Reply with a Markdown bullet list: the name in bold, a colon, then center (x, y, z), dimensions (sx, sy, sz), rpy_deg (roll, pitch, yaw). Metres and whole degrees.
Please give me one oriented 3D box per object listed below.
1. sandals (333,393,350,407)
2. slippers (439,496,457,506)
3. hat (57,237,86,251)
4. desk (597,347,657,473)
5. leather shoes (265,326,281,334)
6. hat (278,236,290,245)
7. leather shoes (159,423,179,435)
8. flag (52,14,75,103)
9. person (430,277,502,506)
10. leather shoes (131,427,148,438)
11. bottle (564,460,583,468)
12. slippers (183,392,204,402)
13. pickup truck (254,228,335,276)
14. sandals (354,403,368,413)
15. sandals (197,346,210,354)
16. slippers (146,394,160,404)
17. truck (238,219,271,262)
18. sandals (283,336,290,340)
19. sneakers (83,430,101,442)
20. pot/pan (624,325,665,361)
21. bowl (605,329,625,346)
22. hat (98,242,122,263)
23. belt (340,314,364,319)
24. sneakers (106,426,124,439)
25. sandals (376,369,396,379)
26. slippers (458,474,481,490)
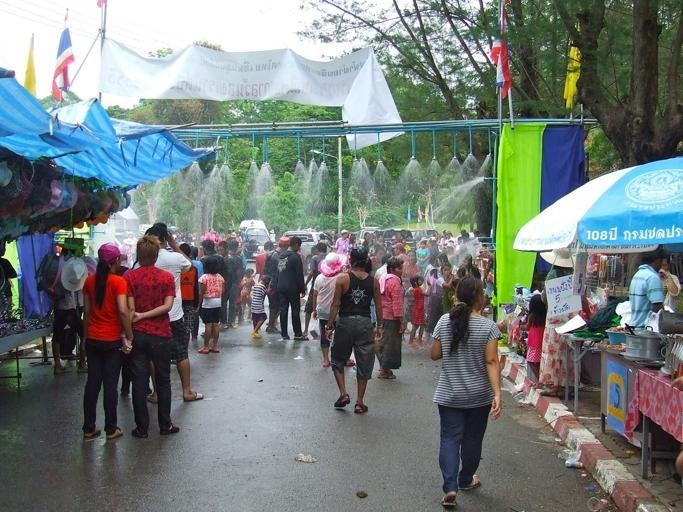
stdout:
- **sandals**: center (0.004, 2.047, 8.389), dimensions (0.116, 0.146, 0.303), rpy_deg (2, -11, -23)
- **slippers**: center (1.023, 2.346, 5.689), dimensions (0.074, 0.083, 0.164), rpy_deg (0, -13, 0)
- **hat**: center (-4.517, -0.186, 10.103), dimensions (0.318, 0.189, 0.244), rpy_deg (0, 1, 2)
- **desk**: center (3.479, 1.689, 6.812), dimensions (0.663, 0.980, 1.297), rpy_deg (2, 1, 3)
- **leather shoes**: center (-1.655, 1.828, 14.504), dimensions (0.362, 0.175, 0.138), rpy_deg (-1, -3, 2)
- **hat**: center (-1.298, -0.320, 13.507), dimensions (0.222, 0.212, 0.194), rpy_deg (-20, 2, -12)
- **leather shoes**: center (-2.114, 2.150, 7.411), dimensions (0.096, 0.108, 0.231), rpy_deg (3, 1, 22)
- **flag**: center (-6.877, -4.843, 14.798), dimensions (0.443, 2.570, 0.370), rpy_deg (-9, 47, -35)
- **person**: center (1.230, 1.304, 5.934), dimensions (0.663, 2.189, 0.636), rpy_deg (0, 4, -3)
- **leather shoes**: center (-2.459, 2.169, 7.295), dimensions (0.194, 0.124, 0.097), rpy_deg (24, 16, 31)
- **bottle**: center (2.604, 2.346, 6.718), dimensions (0.187, 0.058, 0.117), rpy_deg (1, 4, 15)
- **slippers**: center (-2.149, 2.065, 8.697), dimensions (0.209, 0.084, 0.123), rpy_deg (0, 2, -13)
- **pickup truck**: center (-2.153, -0.181, 28.279), dimensions (3.148, 2.095, 1.994), rpy_deg (1, 1, -3)
- **sandals**: center (0.271, 2.100, 8.350), dimensions (0.186, 0.135, 0.341), rpy_deg (1, 4, 4)
- **sandals**: center (-2.745, 1.886, 11.906), dimensions (0.096, 0.098, 0.207), rpy_deg (1, 1, -45)
- **slippers**: center (-2.762, 2.096, 8.747), dimensions (0.108, 0.091, 0.325), rpy_deg (-2, 4, -28)
- **truck**: center (-4.654, -1.020, 34.218), dimensions (2.158, 2.383, 4.071), rpy_deg (-1, -2, -15)
- **sandals**: center (-1.245, 1.865, 13.517), dimensions (0.095, 0.101, 0.101), rpy_deg (1, -6, -3)
- **sneakers**: center (-3.005, 2.175, 7.239), dimensions (0.080, 0.096, 0.211), rpy_deg (4, 7, 18)
- **pot/pan**: center (3.362, 1.035, 6.678), dimensions (0.414, 0.374, 0.423), rpy_deg (18, -6, -30)
- **bowl**: center (3.344, 0.994, 7.298), dimensions (0.178, 0.194, 0.262), rpy_deg (-3, 5, -40)
- **hat**: center (-2.899, -0.068, 7.433), dimensions (0.233, 0.219, 0.228), rpy_deg (24, 17, 6)
- **belt**: center (0.147, 0.857, 8.465), dimensions (0.270, 0.051, 0.058), rpy_deg (0, 4, -8)
- **sneakers**: center (-2.720, 2.146, 7.236), dimensions (0.074, 0.083, 0.186), rpy_deg (3, 3, 13)
- **sandals**: center (0.769, 2.042, 10.264), dimensions (0.331, 0.260, 0.130), rpy_deg (-2, 1, 8)
- **slippers**: center (1.325, 2.359, 6.180), dimensions (0.104, 0.115, 0.245), rpy_deg (13, 19, 43)
